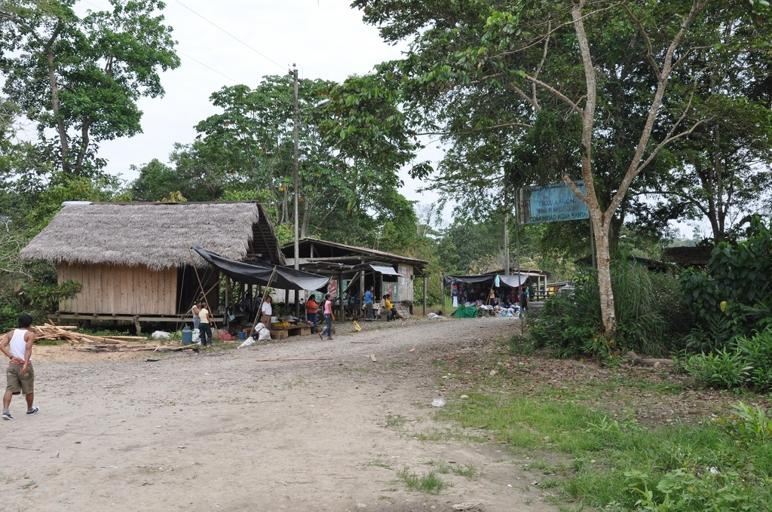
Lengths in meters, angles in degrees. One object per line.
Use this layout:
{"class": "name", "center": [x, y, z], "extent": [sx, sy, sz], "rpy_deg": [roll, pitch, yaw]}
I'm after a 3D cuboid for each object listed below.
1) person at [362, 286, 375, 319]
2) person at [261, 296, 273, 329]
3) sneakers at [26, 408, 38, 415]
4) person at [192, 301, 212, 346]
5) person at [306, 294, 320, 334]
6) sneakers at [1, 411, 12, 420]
{"class": "person", "center": [-0.909, 2.437, 36.524], "extent": [0.497, 1.374, 1.314], "rpy_deg": [-4, 13, -5]}
{"class": "person", "center": [-4.694, 2.136, 28.371], "extent": [0.436, 1.301, 1.012], "rpy_deg": [-5, 14, -12]}
{"class": "sneakers", "center": [-8.331, 3.636, 17.180], "extent": [0.261, 0.120, 0.265], "rpy_deg": [-9, 14, -26]}
{"class": "person", "center": [-6.691, 2.448, 26.575], "extent": [0.582, 1.476, 1.899], "rpy_deg": [-6, 13, -15]}
{"class": "person", "center": [-3.033, 2.423, 29.875], "extent": [0.412, 1.442, 0.701], "rpy_deg": [-6, 14, -12]}
{"class": "sneakers", "center": [-8.769, 3.706, 16.946], "extent": [0.119, 0.142, 0.304], "rpy_deg": [2, -9, 7]}
